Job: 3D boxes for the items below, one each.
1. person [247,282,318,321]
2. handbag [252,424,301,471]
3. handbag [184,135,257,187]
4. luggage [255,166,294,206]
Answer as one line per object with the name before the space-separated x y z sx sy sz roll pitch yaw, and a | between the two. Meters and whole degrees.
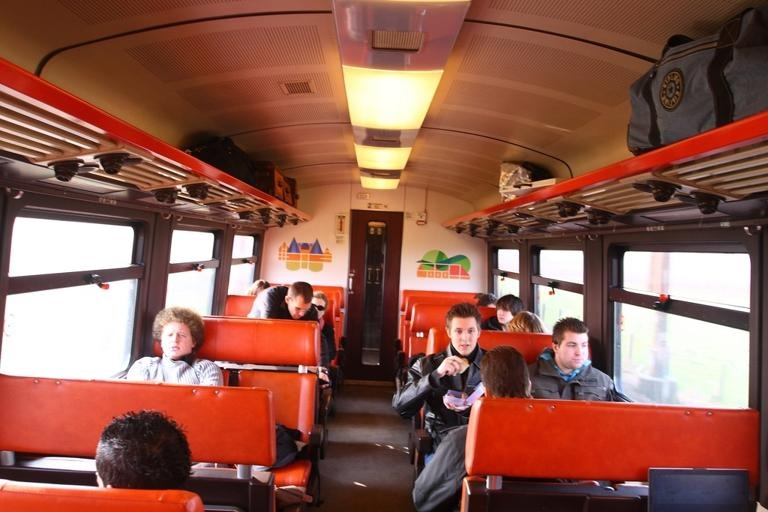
person | -1.185 0.555 6.252 0.352 0.369 0.735 8 -24 -35
handbag | -0.879 1.621 4.593 0.497 0.153 0.381 -1 -3 24
handbag | -1.693 -1.023 5.608 0.424 0.451 0.815 1 -6 15
luggage | -1.394 -0.881 6.739 0.318 0.241 0.768 -1 -5 8
